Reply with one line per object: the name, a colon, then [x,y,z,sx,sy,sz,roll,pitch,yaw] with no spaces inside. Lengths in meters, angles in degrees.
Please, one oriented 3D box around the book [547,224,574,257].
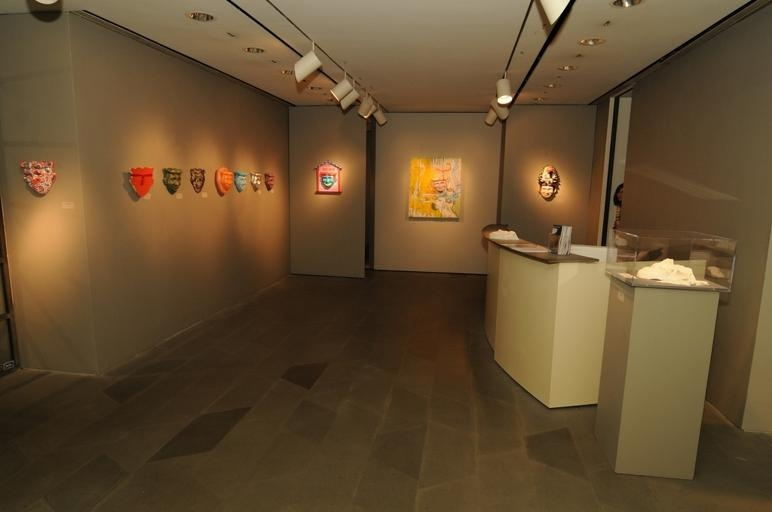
book: [1.887,-0.147,5.247,0.233,0.294,0.300,6,12,18]
